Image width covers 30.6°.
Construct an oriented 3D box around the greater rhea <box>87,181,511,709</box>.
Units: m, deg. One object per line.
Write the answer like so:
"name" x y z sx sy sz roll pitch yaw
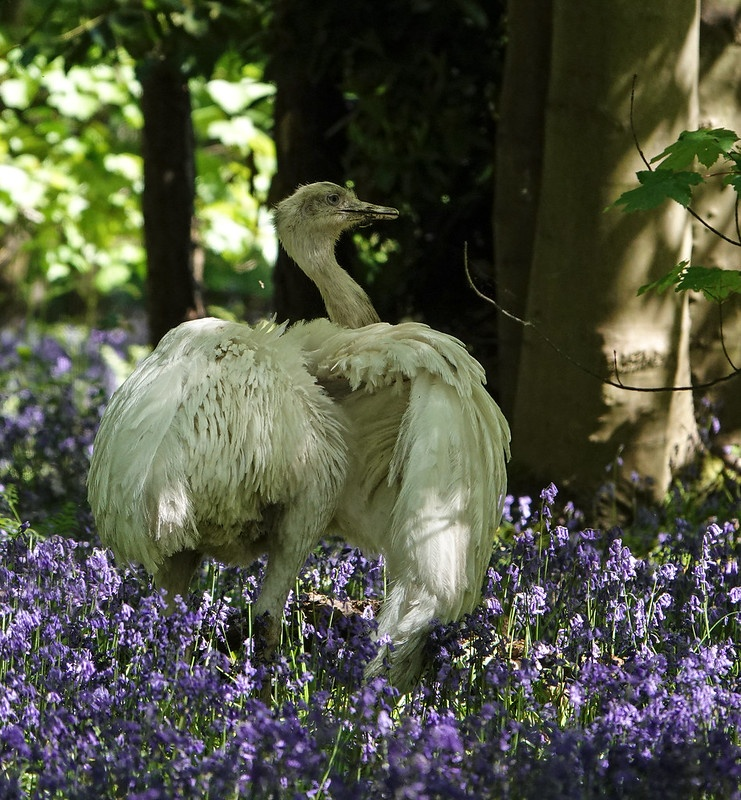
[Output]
"greater rhea" -0.190 0.041 4.724 1.236 1.700 1.083 -3 -9 27
